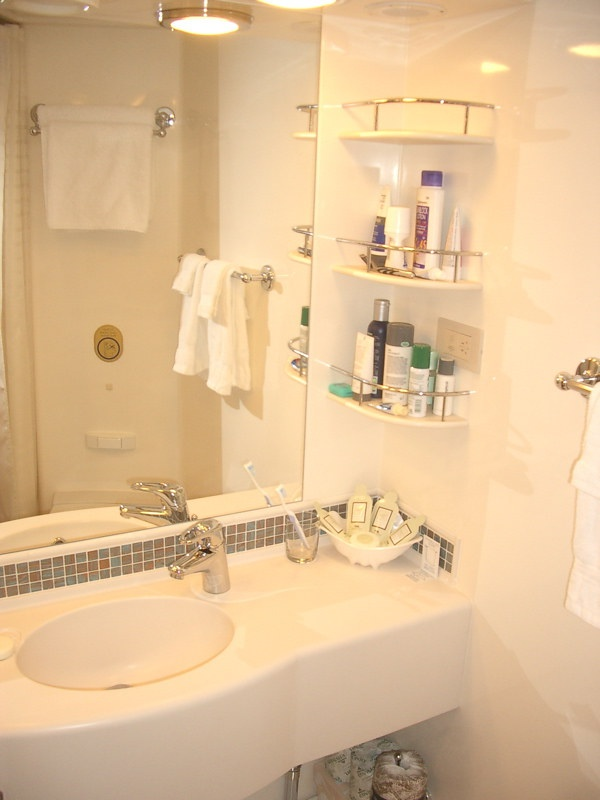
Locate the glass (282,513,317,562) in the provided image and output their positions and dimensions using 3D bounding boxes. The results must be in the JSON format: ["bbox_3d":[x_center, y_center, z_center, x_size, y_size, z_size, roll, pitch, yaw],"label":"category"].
[{"bbox_3d":[0.005,0.341,1.723,0.099,0.113,0.122,-1,8,-6],"label":"glass"}]

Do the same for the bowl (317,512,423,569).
[{"bbox_3d":[0.159,0.338,1.724,0.168,0.067,0.140,6,1,38],"label":"bowl"}]

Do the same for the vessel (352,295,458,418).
[{"bbox_3d":[0.213,-0.090,1.557,0.231,0.310,0.284,1,9,-5],"label":"vessel"}]
